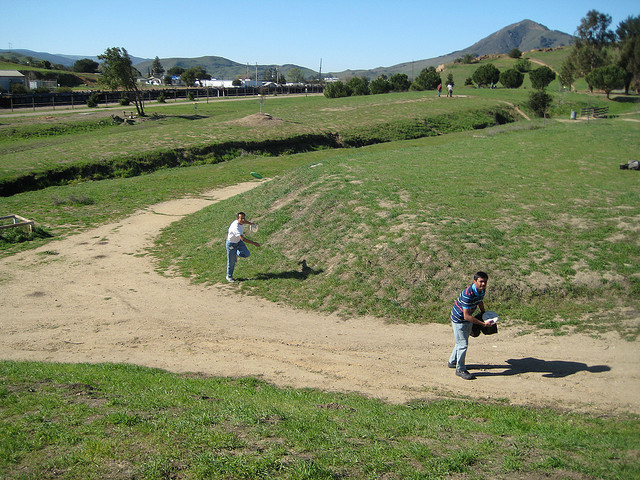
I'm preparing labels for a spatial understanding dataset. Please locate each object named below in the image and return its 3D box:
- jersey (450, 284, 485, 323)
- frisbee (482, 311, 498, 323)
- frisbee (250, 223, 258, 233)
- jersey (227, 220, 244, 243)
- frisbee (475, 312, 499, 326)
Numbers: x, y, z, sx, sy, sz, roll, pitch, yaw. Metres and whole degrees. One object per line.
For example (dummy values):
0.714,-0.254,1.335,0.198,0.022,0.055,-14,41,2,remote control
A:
5.260,2.317,20.457,1.028,1.440,0.406,0,16,6,jersey
6.037,2.828,20.417,0.481,0.354,0.511,3,15,14,frisbee
-3.493,-0.581,30.039,0.596,0.518,0.127,1,3,1,frisbee
-4.185,-0.383,28.088,0.726,1.131,0.408,-2,15,-1,jersey
5.919,2.840,20.469,0.719,0.468,0.635,4,15,18,frisbee
